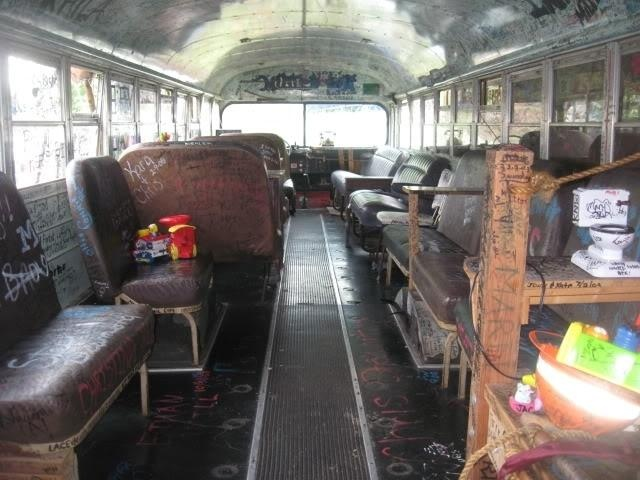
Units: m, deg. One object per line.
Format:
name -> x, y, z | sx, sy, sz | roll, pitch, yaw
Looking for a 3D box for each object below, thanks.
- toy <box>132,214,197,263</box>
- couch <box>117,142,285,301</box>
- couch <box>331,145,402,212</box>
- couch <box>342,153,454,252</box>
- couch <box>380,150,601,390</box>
toy -> -1.249, 0.002, 3.574 | 0.408, 0.263, 0.403 | -4, 10, -21
couch -> -1.037, -0.169, 3.818 | 1.614, 1.656, 0.538 | -4, 22, -4
couch -> 0.936, -1.296, 9.592 | 1.201, 1.359, 2.546 | -2, 15, -3
couch -> 1.201, -0.739, 7.277 | 1.233, 1.153, 0.962 | 11, 42, 24
couch -> 1.236, 0.088, 4.007 | 1.049, 1.627, 2.565 | 0, 13, 1
